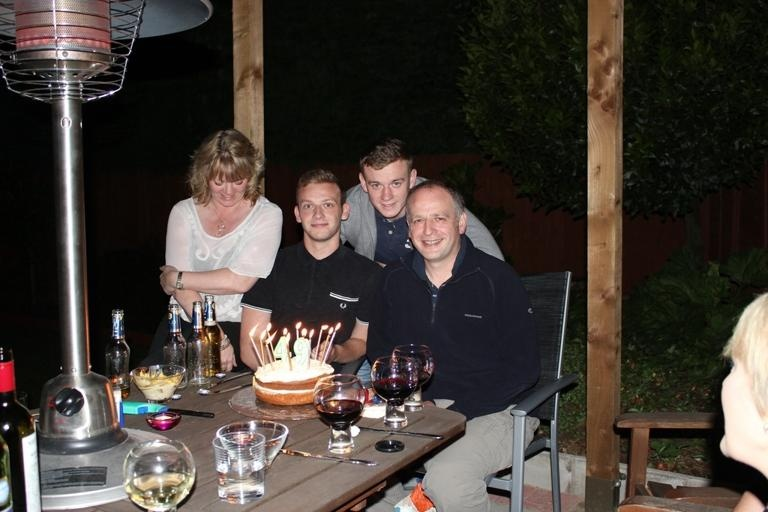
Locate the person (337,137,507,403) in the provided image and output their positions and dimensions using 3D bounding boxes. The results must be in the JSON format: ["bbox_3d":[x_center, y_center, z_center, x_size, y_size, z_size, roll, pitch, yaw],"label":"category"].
[{"bbox_3d":[0.006,-0.050,4.795,1.115,1.587,0.975,20,38,33],"label":"person"}]

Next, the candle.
[{"bbox_3d":[-0.467,0.473,3.461,0.420,0.183,0.395,1,5,5],"label":"candle"}]

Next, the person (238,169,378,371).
[{"bbox_3d":[-0.500,0.241,4.185,0.934,1.526,0.823,6,6,18],"label":"person"}]

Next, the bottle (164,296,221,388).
[{"bbox_3d":[-1.005,0.473,3.516,0.215,0.499,0.240,3,10,-9],"label":"bottle"}]

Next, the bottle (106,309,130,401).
[{"bbox_3d":[-1.267,0.486,3.273,0.121,0.514,0.148,3,-5,-40],"label":"bottle"}]

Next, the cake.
[{"bbox_3d":[-0.449,0.613,3.352,0.396,0.138,0.417,5,5,41],"label":"cake"}]

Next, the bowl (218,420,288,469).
[{"bbox_3d":[-0.532,0.715,2.705,0.297,0.174,0.265,1,0,-13],"label":"bowl"}]

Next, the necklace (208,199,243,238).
[{"bbox_3d":[-1.067,-0.233,4.450,0.173,0.236,0.066,7,-11,4],"label":"necklace"}]

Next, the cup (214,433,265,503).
[{"bbox_3d":[-0.561,0.811,2.618,0.200,0.222,0.207,2,5,0],"label":"cup"}]

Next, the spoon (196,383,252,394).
[{"bbox_3d":[-0.807,0.675,3.380,0.265,0.029,0.076,-2,3,1],"label":"spoon"}]
